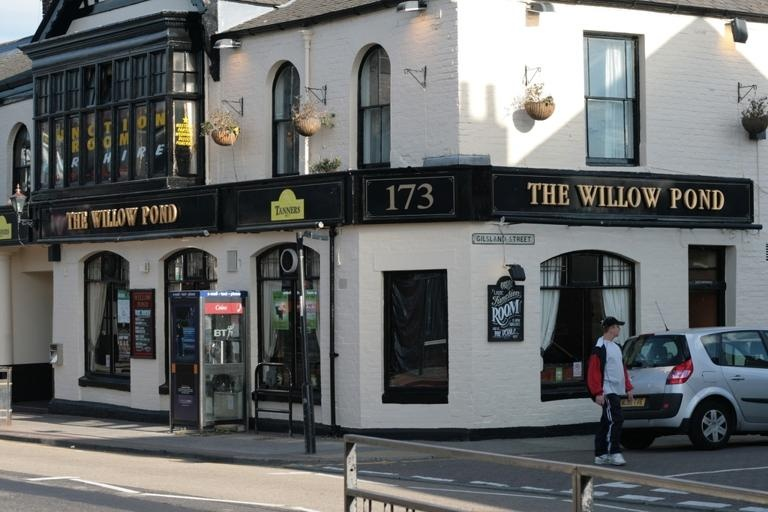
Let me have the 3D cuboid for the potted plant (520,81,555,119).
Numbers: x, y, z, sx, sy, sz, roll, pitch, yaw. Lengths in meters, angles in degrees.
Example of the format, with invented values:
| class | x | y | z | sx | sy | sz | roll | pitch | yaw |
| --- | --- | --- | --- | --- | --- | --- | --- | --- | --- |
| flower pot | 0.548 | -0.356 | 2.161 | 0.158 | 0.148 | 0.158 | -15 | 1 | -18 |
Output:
| class | x | y | z | sx | sy | sz | roll | pitch | yaw |
| --- | --- | --- | --- | --- | --- | --- | --- | --- | --- |
| potted plant | 3.685 | -3.737 | 38.736 | 0.846 | 0.850 | 0.900 | -2 | -9 | 17 |

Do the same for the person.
| class | x | y | z | sx | sy | sz | roll | pitch | yaw |
| --- | --- | --- | --- | --- | --- | --- | --- | --- | --- |
| person | 5.077 | 2.963 | 35.578 | 1.081 | 3.088 | 1.281 | 1 | -1 | 30 |

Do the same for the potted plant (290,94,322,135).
| class | x | y | z | sx | sy | sz | roll | pitch | yaw |
| --- | --- | --- | --- | --- | --- | --- | --- | --- | --- |
| potted plant | -1.914 | -3.518 | 40.279 | 0.738 | 1.066 | 0.934 | -1 | -6 | 7 |

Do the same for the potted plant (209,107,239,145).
| class | x | y | z | sx | sy | sz | roll | pitch | yaw |
| --- | --- | --- | --- | --- | --- | --- | --- | --- | --- |
| potted plant | -4.082 | -3.335 | 41.522 | 0.797 | 0.906 | 0.582 | 1 | -6 | -16 |
